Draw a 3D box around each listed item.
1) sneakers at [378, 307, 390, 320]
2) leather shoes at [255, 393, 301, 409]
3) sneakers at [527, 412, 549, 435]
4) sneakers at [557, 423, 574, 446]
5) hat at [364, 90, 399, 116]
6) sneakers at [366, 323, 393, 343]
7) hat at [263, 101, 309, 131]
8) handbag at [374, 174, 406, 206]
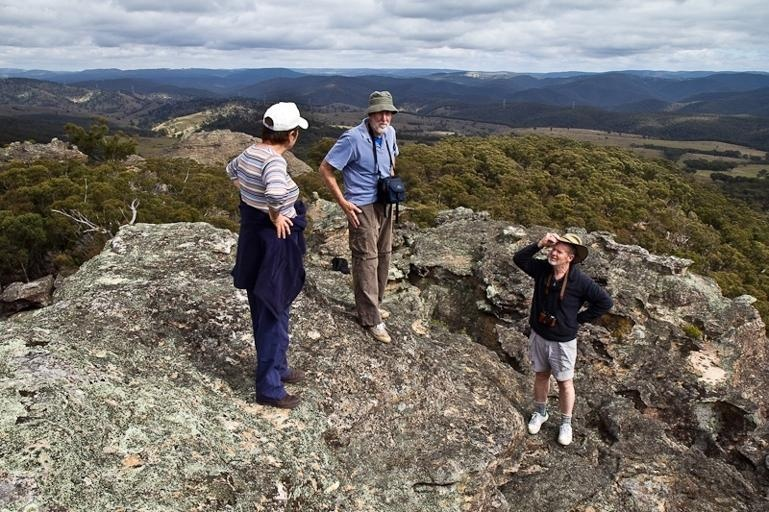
[{"bbox_3d":[-0.041,1.066,8.994,0.209,0.069,0.197,18,38,-45],"label":"sneakers"},{"bbox_3d":[-1.587,2.134,7.490,0.632,0.266,0.232,1,20,-6],"label":"leather shoes"},{"bbox_3d":[2.637,2.864,8.693,0.223,0.196,0.523,-2,9,38],"label":"sneakers"},{"bbox_3d":[3.064,3.036,8.542,0.215,0.169,0.403,1,40,27],"label":"sneakers"},{"bbox_3d":[-0.054,-2.339,8.062,0.548,0.306,0.610,-2,10,-3],"label":"hat"},{"bbox_3d":[-0.062,1.337,8.559,0.494,0.188,0.219,27,33,36],"label":"sneakers"},{"bbox_3d":[-1.338,-1.898,7.023,0.407,0.322,0.579,23,39,30],"label":"hat"},{"bbox_3d":[0.152,-1.044,8.311,0.411,0.525,0.579,8,12,42],"label":"handbag"}]
